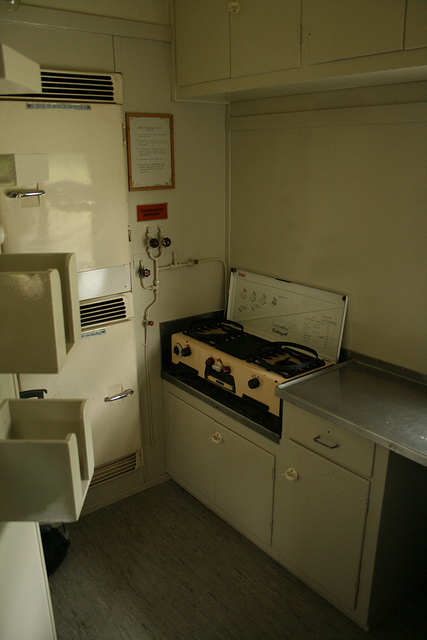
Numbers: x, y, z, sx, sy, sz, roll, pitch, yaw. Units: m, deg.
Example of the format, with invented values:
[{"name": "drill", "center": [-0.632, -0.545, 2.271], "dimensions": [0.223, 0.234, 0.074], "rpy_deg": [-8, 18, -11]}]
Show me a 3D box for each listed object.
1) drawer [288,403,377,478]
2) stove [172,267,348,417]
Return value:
[{"name": "drawer", "center": [0.435, 0.362, 1.561], "dimensions": [0.163, 0.129, 0.245], "rpy_deg": [-11, 25, -39]}, {"name": "stove", "center": [0.178, 0.065, 2.178], "dimensions": [0.431, 0.562, 0.774], "rpy_deg": [-5, 16, -40]}]
